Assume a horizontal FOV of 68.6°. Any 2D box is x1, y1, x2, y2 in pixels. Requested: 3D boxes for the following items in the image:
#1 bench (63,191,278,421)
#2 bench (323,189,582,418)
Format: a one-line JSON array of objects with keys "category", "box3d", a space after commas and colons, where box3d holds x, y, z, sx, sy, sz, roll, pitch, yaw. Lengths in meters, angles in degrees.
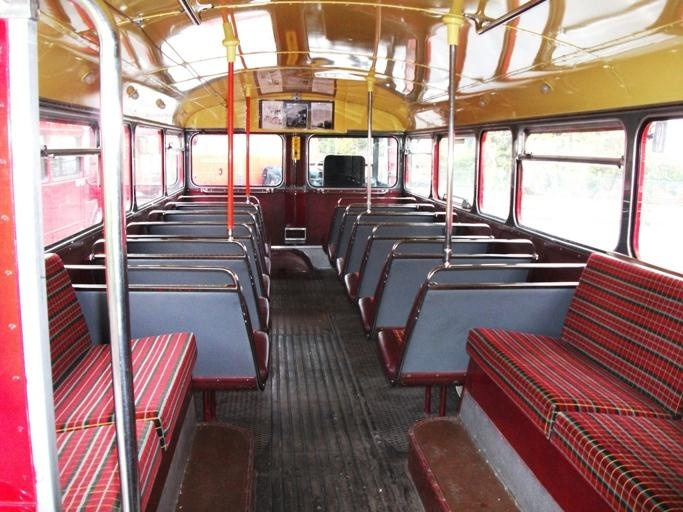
[{"category": "bench", "box3d": [-0.950, 0.208, 3.776, 1.498, 1.461, 1.238, 0, 11, -9]}, {"category": "bench", "box3d": [1.066, 0.329, 3.923, 1.419, 1.193, 1.336, 1, 3, 0]}]
